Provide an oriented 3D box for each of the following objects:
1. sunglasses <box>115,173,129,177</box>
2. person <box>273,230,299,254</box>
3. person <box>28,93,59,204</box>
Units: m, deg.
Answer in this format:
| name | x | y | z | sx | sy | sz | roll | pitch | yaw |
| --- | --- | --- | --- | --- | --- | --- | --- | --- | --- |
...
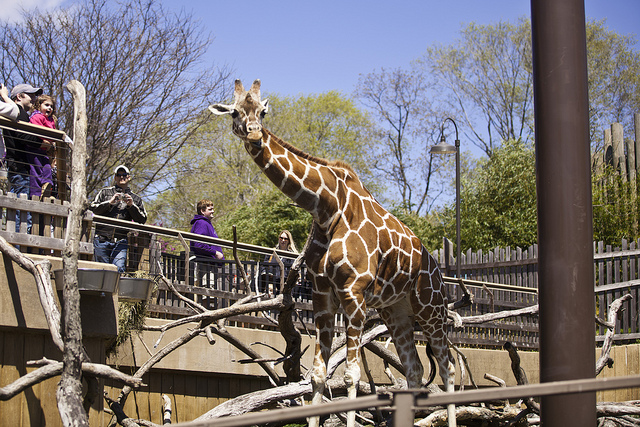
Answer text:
| name | x | y | z | sx | sy | sz | roll | pitch | yaw |
| --- | --- | --- | --- | --- | --- | --- | --- | --- | --- |
| sunglasses | -3.791 | -0.743 | 23.640 | 0.213 | 0.084 | 0.098 | 0 | -12 | -9 |
| person | -0.630 | 0.594 | 25.660 | 0.791 | 0.499 | 0.394 | 1 | -4 | 13 |
| person | -5.034 | -1.192 | 22.450 | 0.516 | 2.351 | 1.407 | 1 | -12 | -14 |
